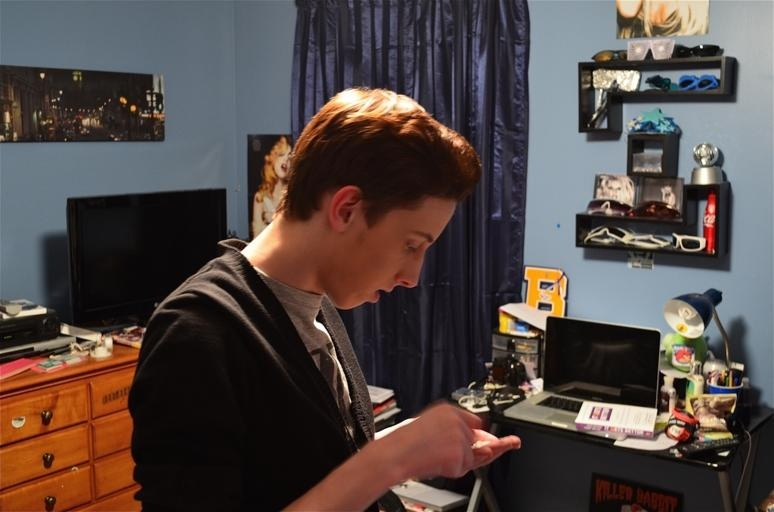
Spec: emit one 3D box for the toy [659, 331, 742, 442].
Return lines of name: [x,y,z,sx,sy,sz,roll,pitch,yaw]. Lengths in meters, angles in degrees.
toy: [1.454,0.605,2.760,0.296,0.488,0.463,0,-1,-17]

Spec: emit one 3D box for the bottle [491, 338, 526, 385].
bottle: [0.632,0.566,3.182,0.198,0.221,0.213,11,23,21]

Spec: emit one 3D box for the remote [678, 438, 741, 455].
remote: [1.376,0.807,2.543,0.292,0.048,0.079,0,4,-10]

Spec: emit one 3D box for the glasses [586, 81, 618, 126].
glasses: [1.110,-0.774,3.134,0.101,0.267,0.079,-12,43,-40]

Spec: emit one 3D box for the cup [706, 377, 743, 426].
cup: [1.570,0.660,2.722,0.166,0.239,0.172,0,-4,0]

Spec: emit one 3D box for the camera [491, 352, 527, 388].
camera: [0.623,0.583,3.119,0.177,0.146,0.194,4,1,27]

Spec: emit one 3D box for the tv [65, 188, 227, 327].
tv: [-1.261,0.002,2.929,0.214,0.548,0.738,1,4,39]

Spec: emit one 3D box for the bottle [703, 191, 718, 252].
bottle: [1.553,-0.158,2.871,0.024,0.301,0.075,-1,5,-25]

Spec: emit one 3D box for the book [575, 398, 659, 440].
book: [1.048,0.746,2.731,0.339,0.077,0.278,3,5,23]

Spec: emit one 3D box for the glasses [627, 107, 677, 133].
glasses: [1.336,-0.671,2.986,0.245,0.136,0.127,3,5,25]

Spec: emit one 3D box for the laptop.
laptop: [0.989,0.548,2.867,0.660,0.501,0.501,4,3,36]

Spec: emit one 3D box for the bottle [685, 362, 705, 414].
bottle: [1.425,0.605,2.757,0.075,0.199,0.228,3,5,28]
